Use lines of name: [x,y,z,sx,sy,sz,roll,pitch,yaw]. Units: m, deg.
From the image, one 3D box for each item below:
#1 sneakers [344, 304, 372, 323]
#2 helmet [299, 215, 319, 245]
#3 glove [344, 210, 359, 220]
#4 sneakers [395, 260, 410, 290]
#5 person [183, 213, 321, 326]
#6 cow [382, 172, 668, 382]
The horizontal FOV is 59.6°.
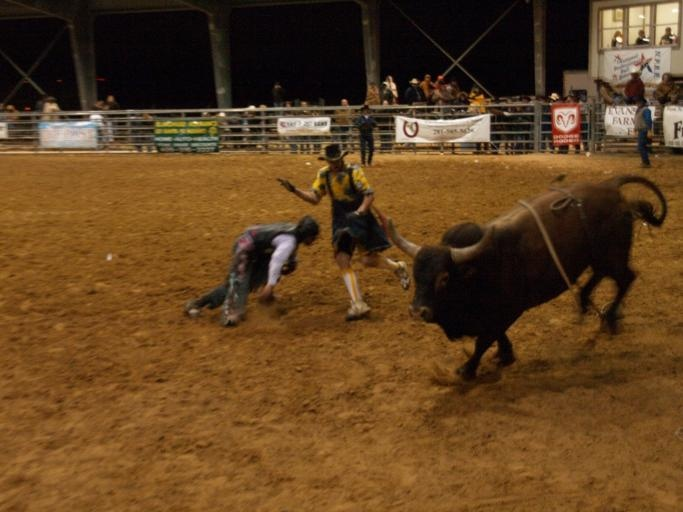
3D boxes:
sneakers: [0.182,0.627,6.747,0.285,0.221,0.174,-3,12,-3]
helmet: [-0.370,-0.351,6.795,0.271,0.292,0.314,-2,13,0]
glove: [0.116,-0.509,6.665,0.139,0.083,0.190,-5,12,-14]
sneakers: [0.715,0.215,7.273,0.227,0.347,0.146,-6,-3,-31]
person: [-1.057,0.147,7.032,1.852,1.095,1.163,-2,3,17]
cow: [1.637,0.252,5.409,2.500,1.805,0.510,-8,14,-24]
